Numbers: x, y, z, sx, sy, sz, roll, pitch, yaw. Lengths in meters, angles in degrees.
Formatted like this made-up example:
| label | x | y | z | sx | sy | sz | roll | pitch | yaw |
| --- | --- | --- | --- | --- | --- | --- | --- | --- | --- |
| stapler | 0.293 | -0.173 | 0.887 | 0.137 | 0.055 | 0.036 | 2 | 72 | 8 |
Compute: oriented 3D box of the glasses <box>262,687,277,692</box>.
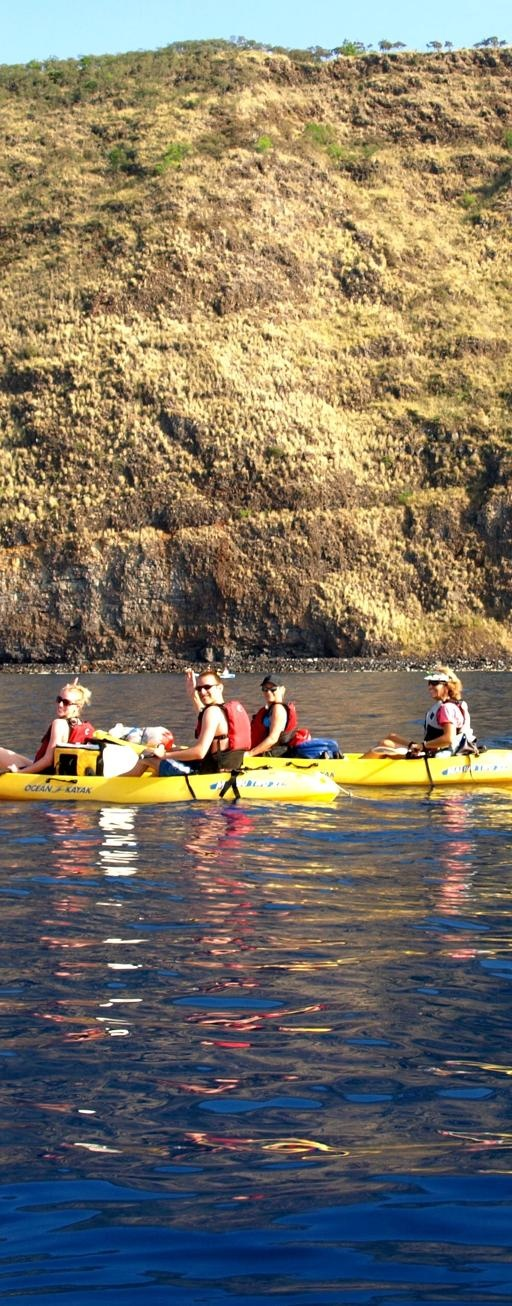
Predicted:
| label | x | y | z | sx | sy | sz | roll | pitch | yaw |
| --- | --- | --- | --- | --- | --- | --- | --- | --- | --- |
| glasses | 0.149 | 0.391 | 27.301 | 0.157 | 0.077 | 0.188 | 1 | 1 | 15 |

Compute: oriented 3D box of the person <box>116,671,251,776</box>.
| label | x | y | z | sx | sy | sz | roll | pitch | yaw |
| --- | --- | --- | --- | --- | --- | --- | --- | --- | --- |
| person | -0.723 | 0.756 | 26.839 | 1.237 | 1.725 | 0.817 | 3 | 5 | 12 |

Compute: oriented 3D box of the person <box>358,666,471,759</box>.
| label | x | y | z | sx | sy | sz | roll | pitch | yaw |
| --- | --- | --- | --- | --- | --- | --- | --- | --- | --- |
| person | 2.003 | 0.675 | 27.925 | 0.901 | 1.070 | 1.455 | 0 | 1 | -30 |

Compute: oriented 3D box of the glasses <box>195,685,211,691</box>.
| label | x | y | z | sx | sy | sz | roll | pitch | yaw |
| --- | --- | --- | --- | --- | --- | --- | --- | --- | --- |
| glasses | -0.581 | 0.378 | 26.395 | 0.103 | 0.082 | 0.551 | 0 | 1 | -5 |

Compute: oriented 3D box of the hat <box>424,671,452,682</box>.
| label | x | y | z | sx | sy | sz | roll | pitch | yaw |
| --- | --- | --- | --- | --- | --- | --- | --- | --- | --- |
| hat | 2.032 | 0.247 | 27.214 | 0.309 | 0.157 | 0.388 | 1 | 1 | 26 |
